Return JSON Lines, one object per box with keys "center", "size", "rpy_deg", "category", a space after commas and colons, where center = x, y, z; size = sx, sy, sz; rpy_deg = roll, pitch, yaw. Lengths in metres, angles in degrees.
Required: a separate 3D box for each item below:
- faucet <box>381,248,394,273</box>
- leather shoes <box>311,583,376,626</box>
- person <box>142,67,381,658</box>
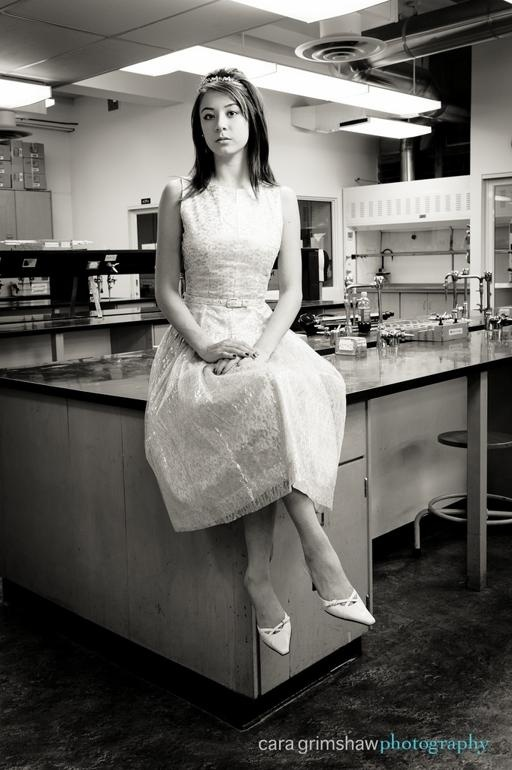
{"center": [1.973, -1.878, 9.019], "size": [0.217, 0.432, 0.287], "rpy_deg": [-2, -1, 12], "category": "faucet"}
{"center": [0.175, 0.434, 1.136], "size": [0.110, 0.028, 0.058], "rpy_deg": [39, 61, 23], "category": "leather shoes"}
{"center": [0.003, -0.015, 1.320], "size": [0.381, 1.356, 0.571], "rpy_deg": [0, -2, -44], "category": "person"}
